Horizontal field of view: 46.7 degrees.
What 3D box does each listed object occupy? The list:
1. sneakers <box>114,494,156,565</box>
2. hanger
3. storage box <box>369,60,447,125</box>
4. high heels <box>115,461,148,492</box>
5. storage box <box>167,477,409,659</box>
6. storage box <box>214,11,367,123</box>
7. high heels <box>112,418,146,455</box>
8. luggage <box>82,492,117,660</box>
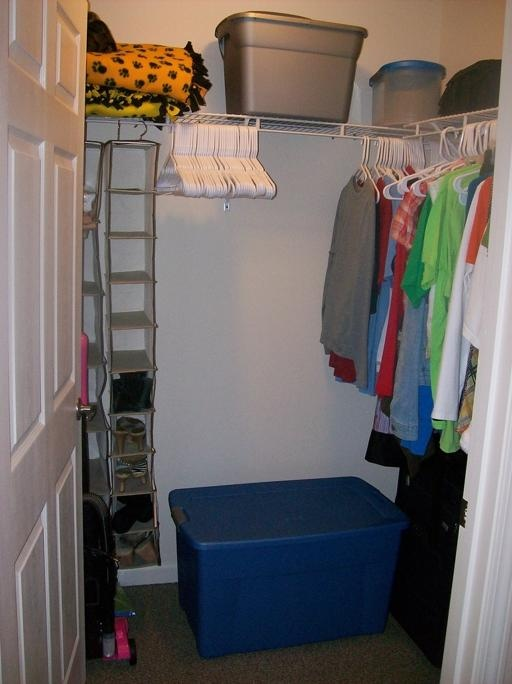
[{"bbox_3d":[-0.439,0.681,2.143,0.160,0.297,0.127,0,9,-11],"label":"sneakers"},{"bbox_3d":[0.199,-0.618,2.040,1.038,0.286,0.697,3,9,9],"label":"hanger"},{"bbox_3d":[0.554,-0.881,2.162,0.268,0.184,0.305,2,11,4],"label":"storage box"},{"bbox_3d":[-0.447,0.452,2.124,0.116,0.097,0.186,0,9,-11],"label":"high heels"},{"bbox_3d":[0.070,0.722,2.067,0.694,0.401,0.461,0,5,-15],"label":"storage box"},{"bbox_3d":[0.112,-0.905,2.022,0.495,0.286,0.326,-1,15,-16],"label":"storage box"},{"bbox_3d":[-0.447,0.319,2.095,0.086,0.051,0.128,0,21,-9],"label":"high heels"},{"bbox_3d":[-0.487,0.728,1.821,0.110,0.453,0.110,1,-26,-27],"label":"luggage"}]
